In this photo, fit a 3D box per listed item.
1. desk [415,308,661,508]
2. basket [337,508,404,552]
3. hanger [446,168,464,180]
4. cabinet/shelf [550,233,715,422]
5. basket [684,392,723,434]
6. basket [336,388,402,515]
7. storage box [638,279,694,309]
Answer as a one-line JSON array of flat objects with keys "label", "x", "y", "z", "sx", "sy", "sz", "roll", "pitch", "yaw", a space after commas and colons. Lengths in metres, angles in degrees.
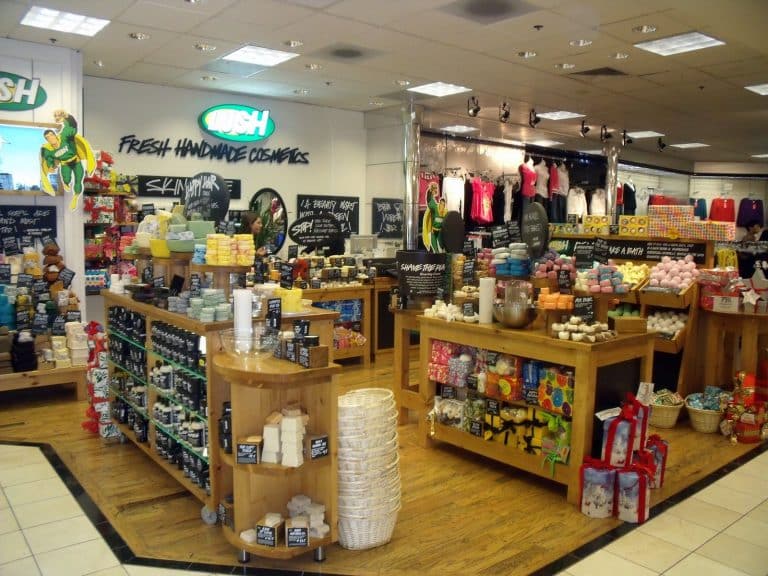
[{"label": "desk", "x": 1.095, "y": 0.932, "z": 5.069, "sx": 0.968, "sy": 1.057, "sz": 1.629, "roll": 6, "pitch": 0, "yaw": -7}, {"label": "basket", "x": -0.138, "y": 1.649, "z": 3.880, "sx": 0.317, "sy": 0.185, "sz": 0.334, "roll": 1, "pitch": -9, "yaw": -13}, {"label": "hanger", "x": 1.385, "y": -2.247, "z": 10.856, "sx": 0.248, "sy": 0.125, "sz": 0.328, "roll": 4, "pitch": 20, "yaw": 3}, {"label": "cabinet/shelf", "x": 2.793, "y": 0.304, "z": 6.345, "sx": 2.259, "sy": 1.861, "sz": 0.691, "roll": 3, "pitch": -3, "yaw": -8}, {"label": "basket", "x": 3.310, "y": 1.276, "z": 5.805, "sx": 0.413, "sy": 0.343, "sz": 0.396, "roll": 1, "pitch": 0, "yaw": -25}, {"label": "basket", "x": -0.105, "y": 1.171, "z": 3.851, "sx": 0.466, "sy": 0.758, "sz": 0.268, "roll": -4, "pitch": 11, "yaw": -21}, {"label": "storage box", "x": 3.198, "y": 0.075, "z": 6.256, "sx": 0.325, "sy": 0.347, "sz": 0.510, "roll": -10, "pitch": 14, "yaw": -44}]
